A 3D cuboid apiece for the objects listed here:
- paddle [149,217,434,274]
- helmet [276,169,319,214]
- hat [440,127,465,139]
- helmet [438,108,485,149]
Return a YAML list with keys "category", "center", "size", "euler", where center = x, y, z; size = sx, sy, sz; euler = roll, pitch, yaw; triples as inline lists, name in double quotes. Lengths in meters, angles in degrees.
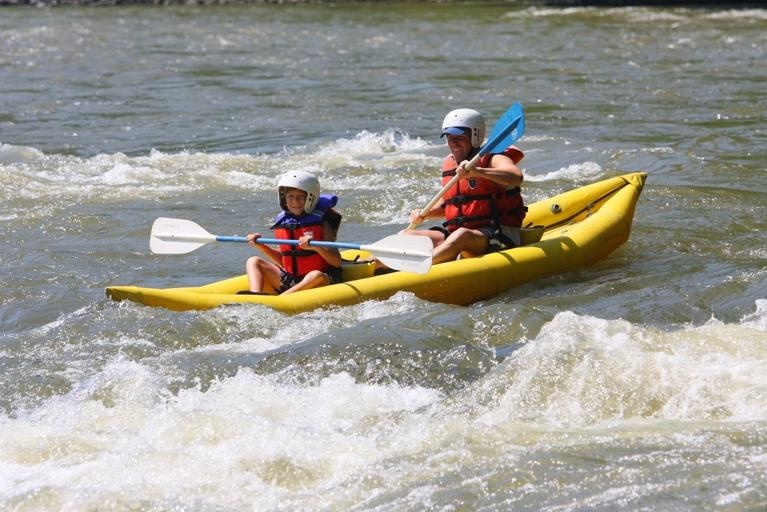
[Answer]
- category: "paddle"
  center: [-0.974, -0.104, 12.218]
  size: [2.982, 0.552, 0.384]
  euler: [1, 18, 9]
- category: "helmet"
  center: [-0.927, -0.656, 12.157]
  size: [0.440, 0.284, 0.408]
  euler: [9, -29, -34]
- category: "hat"
  center: [0.729, -1.350, 12.590]
  size: [0.290, 0.099, 0.141]
  euler: [7, 17, 28]
- category: "helmet"
  center: [0.908, -1.414, 12.635]
  size: [0.563, 0.329, 0.433]
  euler: [-30, 28, -35]
